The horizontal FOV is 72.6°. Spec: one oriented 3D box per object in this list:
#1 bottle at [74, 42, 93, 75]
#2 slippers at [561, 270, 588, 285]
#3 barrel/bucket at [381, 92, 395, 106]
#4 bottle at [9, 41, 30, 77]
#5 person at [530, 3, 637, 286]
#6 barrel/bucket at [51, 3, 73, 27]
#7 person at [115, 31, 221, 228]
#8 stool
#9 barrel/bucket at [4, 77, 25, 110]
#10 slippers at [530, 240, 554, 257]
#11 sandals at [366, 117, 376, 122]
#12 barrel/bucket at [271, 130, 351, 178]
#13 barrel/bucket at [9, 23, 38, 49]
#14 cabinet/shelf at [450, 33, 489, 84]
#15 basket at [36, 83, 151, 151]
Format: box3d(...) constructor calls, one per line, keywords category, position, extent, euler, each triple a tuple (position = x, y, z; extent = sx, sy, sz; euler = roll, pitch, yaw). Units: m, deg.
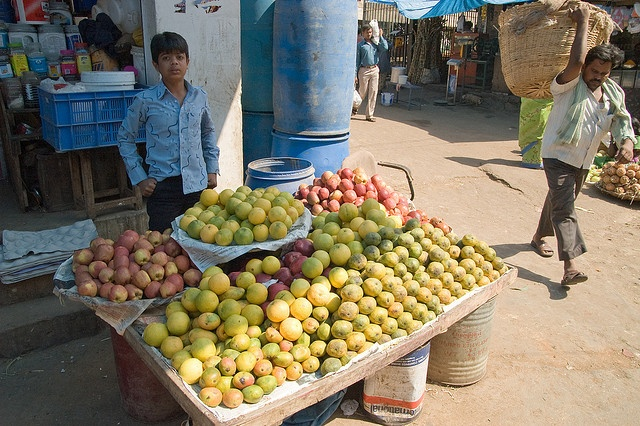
box3d(category="bottle", position=(-3.049, -1.986, 5.599), extent=(0.336, 0.376, 0.184), euler=(10, 21, 29))
box3d(category="slippers", position=(2.931, 0.751, 5.035), extent=(0.145, 0.092, 0.279), euler=(-3, -4, -9))
box3d(category="barrel/bucket", position=(2.317, -3.890, 14.968), extent=(0.457, 0.340, 0.459), euler=(1, 35, 0))
box3d(category="bottle", position=(-3.872, -1.971, 5.614), extent=(0.191, 0.415, 0.360), euler=(-14, 22, -35))
box3d(category="person", position=(2.989, -0.704, 4.958), extent=(0.777, 3.151, 0.848), euler=(-14, 23, -36))
box3d(category="barrel/bucket", position=(-3.617, -2.783, 6.069), extent=(0.273, 0.312, 0.294), euler=(0, 18, 0))
box3d(category="person", position=(-1.363, -0.716, 3.996), extent=(0.896, 1.745, 0.423), euler=(-9, 20, -24))
box3d(category="stool", position=(-2.897, -0.488, 5.677), extent=(0.642, 0.721, 0.638), euler=(-16, 13, -31))
box3d(category="barrel/bucket", position=(-3.933, -1.539, 5.606), extent=(0.207, 0.372, 0.292), euler=(-15, 23, -38))
box3d(category="slippers", position=(2.991, 0.463, 5.881), extent=(0.125, 0.126, 0.336), euler=(-10, 19, -11))
box3d(category="sandals", position=(1.442, -2.667, 12.348), extent=(0.217, 0.213, 0.131), euler=(0, 31, 10))
box3d(category="barrel/bucket", position=(-0.105, -0.787, 5.447), extent=(0.696, 0.680, 0.693), euler=(0, 13, 0))
box3d(category="barrel/bucket", position=(-3.926, -2.322, 5.854), extent=(0.345, 0.334, 0.352), euler=(2, 16, -1))
box3d(category="cabinet/shelf", position=(5.315, -5.445, 15.388), extent=(1.173, 2.022, 1.193), euler=(-29, 37, -35))
box3d(category="basket", position=(-2.630, -1.021, 5.096), extent=(1.002, 0.611, 0.989), euler=(-6, 24, -24))
